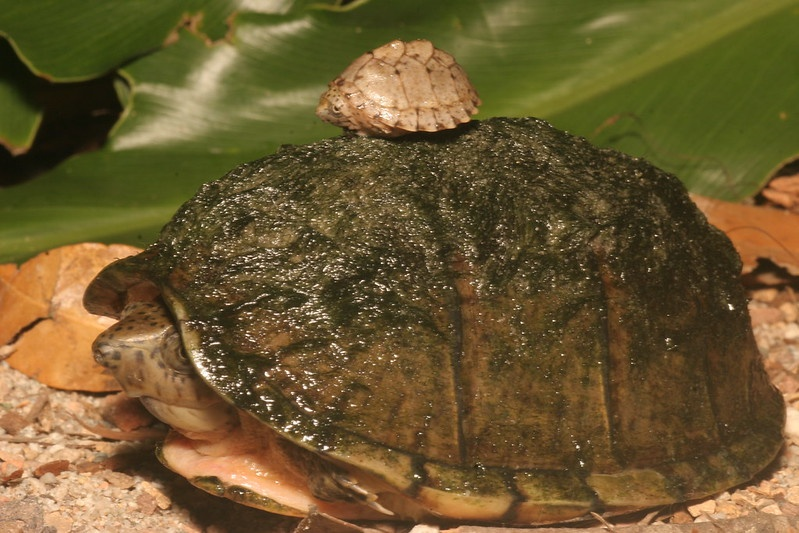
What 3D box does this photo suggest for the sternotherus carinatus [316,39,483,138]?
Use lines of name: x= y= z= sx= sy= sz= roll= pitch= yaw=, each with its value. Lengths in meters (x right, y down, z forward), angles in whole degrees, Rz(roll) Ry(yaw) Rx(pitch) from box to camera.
sternotherus carinatus: x=0.079 y=-0.632 z=3.778 sx=0.586 sy=0.171 sz=0.487 roll=-11 pitch=18 yaw=-25
